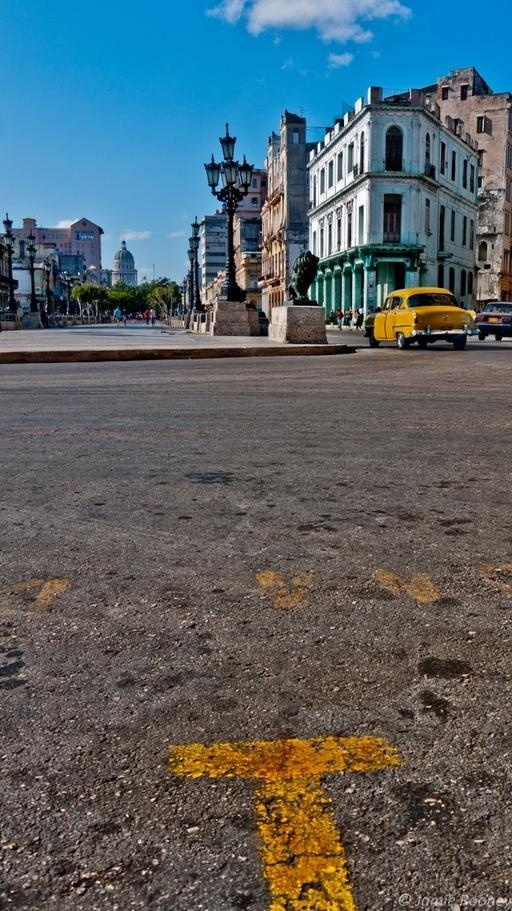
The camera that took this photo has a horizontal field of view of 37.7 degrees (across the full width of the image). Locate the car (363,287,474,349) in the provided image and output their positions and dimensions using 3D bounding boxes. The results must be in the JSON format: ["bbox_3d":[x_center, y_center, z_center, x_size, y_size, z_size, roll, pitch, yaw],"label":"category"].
[{"bbox_3d":[4.352,-3.830,21.295,3.391,1.644,3.509,4,10,26],"label":"car"}]
